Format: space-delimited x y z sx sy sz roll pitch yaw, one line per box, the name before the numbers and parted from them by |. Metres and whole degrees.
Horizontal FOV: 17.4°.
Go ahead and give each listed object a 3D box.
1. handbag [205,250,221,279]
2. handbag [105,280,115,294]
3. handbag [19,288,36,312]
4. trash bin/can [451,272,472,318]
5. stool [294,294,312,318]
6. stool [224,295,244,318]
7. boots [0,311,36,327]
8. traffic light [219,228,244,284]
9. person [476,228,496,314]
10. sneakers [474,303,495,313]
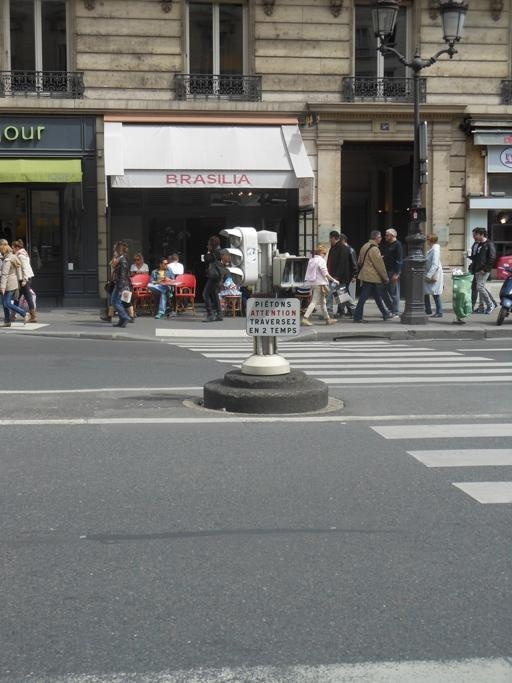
handbag | -0.636 -1.132 24.900 0.223 0.393 0.504 0 9 -5
handbag | -2.165 -0.786 24.691 0.122 0.265 0.235 0 -2 -1
handbag | -3.391 -0.584 24.758 0.203 0.365 0.296 -5 -8 -3
trash bin/can | 2.922 -0.584 23.860 0.288 0.756 0.963 2 9 7
stool | 0.765 -0.563 26.865 0.318 0.504 0.375 0 2 0
stool | -0.375 -0.526 26.403 0.251 0.365 0.289 2 2 12
boots | -3.455 -0.292 24.321 0.516 0.284 0.184 2 -3 -27
traffic light | -0.238 -0.789 15.207 0.172 0.544 0.142 10 8 37
person | 3.580 -1.047 26.169 0.359 1.406 0.976 2 8 8
sneakers | 3.618 -0.519 26.462 0.123 0.206 0.454 -9 -1 -16
